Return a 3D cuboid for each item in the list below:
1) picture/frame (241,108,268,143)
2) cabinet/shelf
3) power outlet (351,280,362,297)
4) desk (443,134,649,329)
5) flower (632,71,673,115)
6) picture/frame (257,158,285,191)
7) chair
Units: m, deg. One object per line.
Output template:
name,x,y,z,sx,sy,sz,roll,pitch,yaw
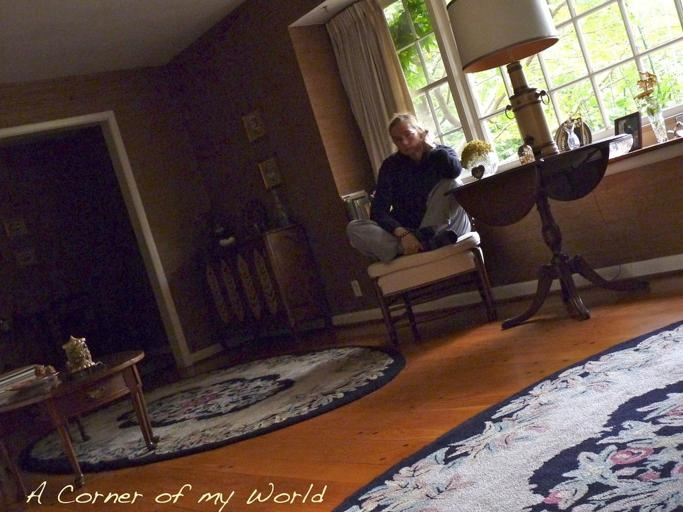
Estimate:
picture/frame,-0.831,-1.240,5.059,0.049,0.306,0.285,-21,6,-41
cabinet/shelf,-0.822,0.301,5.257,1.292,1.166,0.457,-12,7,43
power outlet,0.138,0.296,4.754,0.092,0.152,0.010,-14,6,38
desk,1.245,-0.102,3.155,0.989,0.818,0.648,-17,-6,14
flower,1.707,-0.940,2.946,0.130,0.157,0.158,-1,8,37
picture/frame,-0.679,-0.783,5.070,0.063,0.297,0.278,-21,6,-39
chair,0.656,0.048,3.809,0.947,1.011,0.830,-27,-19,22
